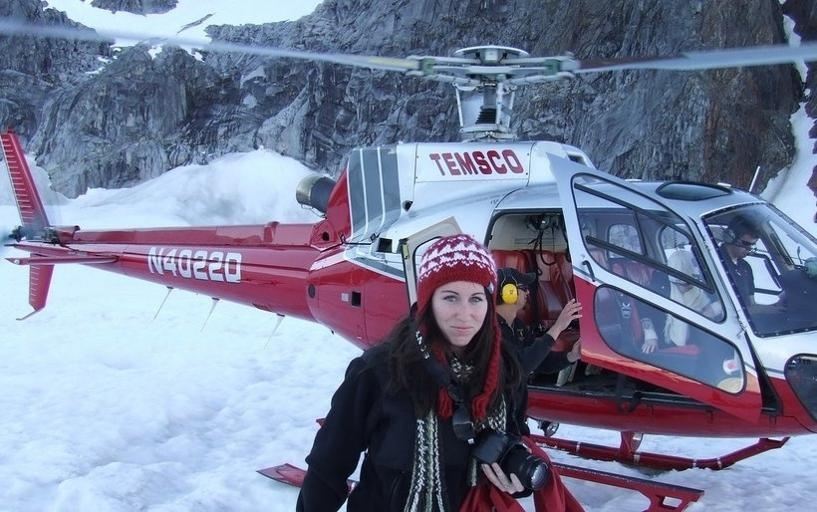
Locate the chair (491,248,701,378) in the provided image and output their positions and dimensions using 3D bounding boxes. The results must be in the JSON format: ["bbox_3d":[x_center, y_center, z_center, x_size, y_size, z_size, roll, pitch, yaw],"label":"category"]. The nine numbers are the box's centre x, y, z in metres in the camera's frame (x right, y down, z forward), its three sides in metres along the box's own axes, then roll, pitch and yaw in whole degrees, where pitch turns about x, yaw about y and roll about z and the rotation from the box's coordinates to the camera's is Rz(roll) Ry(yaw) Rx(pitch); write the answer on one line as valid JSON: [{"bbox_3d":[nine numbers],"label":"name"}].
[{"bbox_3d":[1.567,0.576,4.618,1.617,0.941,0.906,2,-1,18],"label":"chair"}]

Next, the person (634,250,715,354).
[{"bbox_3d":[2.345,0.419,4.714,0.593,0.871,0.507,-6,15,-33],"label":"person"}]

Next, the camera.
[{"bbox_3d":[0.697,1.323,3.495,0.481,0.273,0.378,37,-16,-1],"label":"camera"}]

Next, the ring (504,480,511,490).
[{"bbox_3d":[0.642,1.468,3.455,0.041,0.035,0.013,0,13,-11],"label":"ring"}]

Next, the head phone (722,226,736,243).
[{"bbox_3d":[2.897,-0.187,4.876,0.189,0.124,0.085,-9,17,-43],"label":"head phone"}]

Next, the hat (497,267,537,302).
[{"bbox_3d":[0.946,0.249,4.706,0.393,0.203,0.254,-24,15,-20],"label":"hat"}]

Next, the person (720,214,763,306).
[{"bbox_3d":[2.992,0.046,4.868,0.323,0.766,0.611,11,15,33],"label":"person"}]

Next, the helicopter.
[{"bbox_3d":[-0.615,-0.236,7.046,8.135,2.654,6.642,2,6,22],"label":"helicopter"}]

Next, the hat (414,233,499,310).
[{"bbox_3d":[0.279,0.174,3.680,0.455,0.419,0.529,16,-27,-23],"label":"hat"}]
